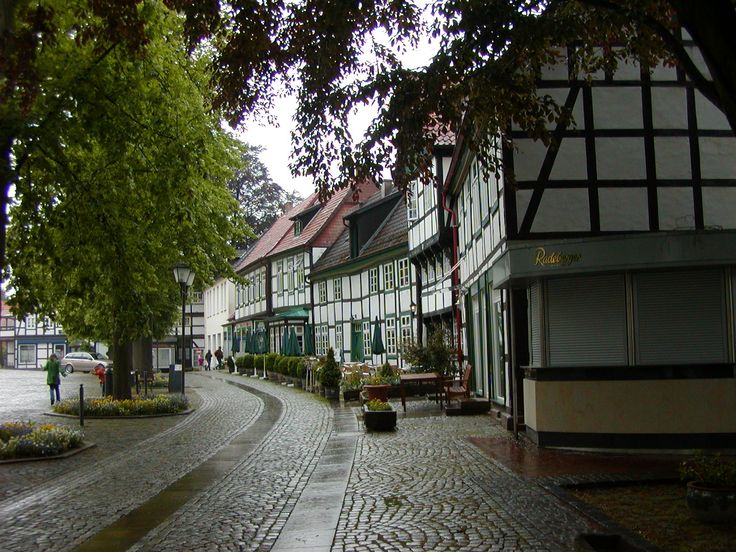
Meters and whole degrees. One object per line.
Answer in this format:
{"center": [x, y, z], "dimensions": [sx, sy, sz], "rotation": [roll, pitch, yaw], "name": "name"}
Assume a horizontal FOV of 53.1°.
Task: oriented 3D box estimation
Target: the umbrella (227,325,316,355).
{"center": [-6.686, 4.391, 46.977], "dimensions": [3.661, 2.522, 5.190], "rotation": [3, -2, -45], "name": "umbrella"}

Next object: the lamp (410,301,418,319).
{"center": [1.972, 1.392, 31.801], "dimensions": [0.288, 0.687, 0.921], "rotation": [-1, -10, 7], "name": "lamp"}
